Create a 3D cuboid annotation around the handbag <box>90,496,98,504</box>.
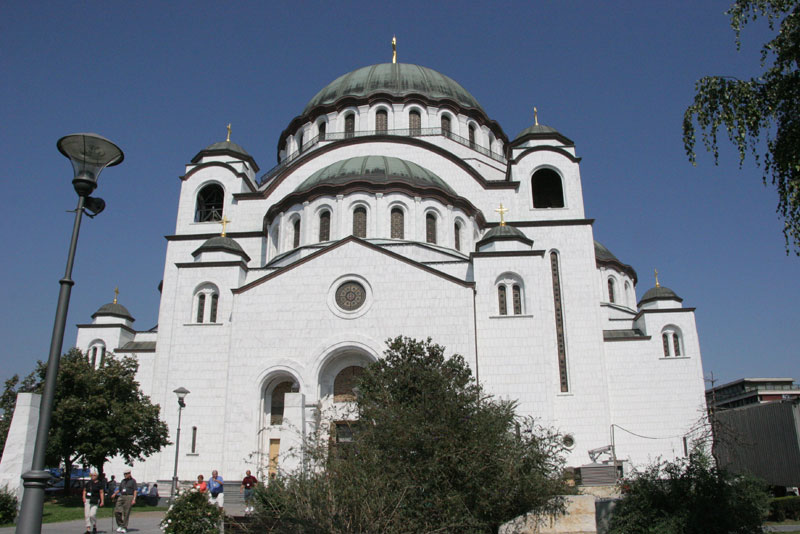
[{"bbox_3d":[-11.295,8.683,28.711,0.247,0.226,0.066,8,-6,-11],"label":"handbag"}]
